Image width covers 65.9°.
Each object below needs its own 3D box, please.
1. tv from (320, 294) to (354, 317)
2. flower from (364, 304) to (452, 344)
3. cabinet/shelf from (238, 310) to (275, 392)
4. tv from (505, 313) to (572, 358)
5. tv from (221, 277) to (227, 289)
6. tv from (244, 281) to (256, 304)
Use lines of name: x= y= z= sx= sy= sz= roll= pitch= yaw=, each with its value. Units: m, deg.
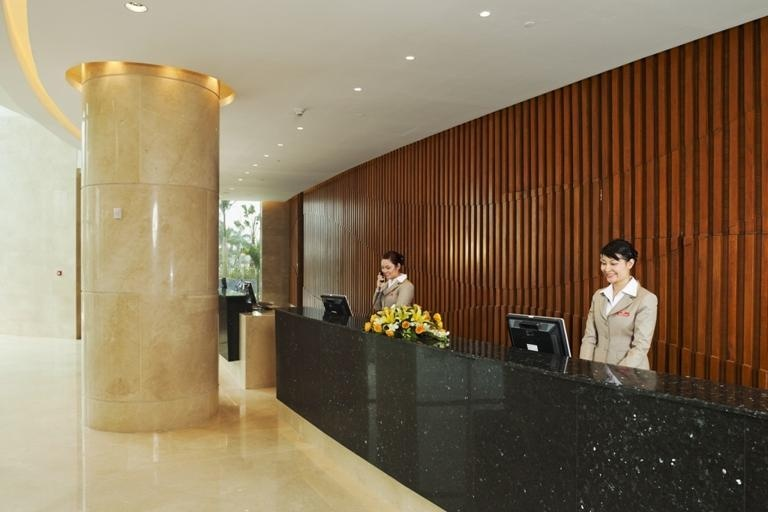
tv: x=-0.588 y=0.602 z=7.237 sx=0.348 sy=0.258 sz=0.554 roll=-2 pitch=9 yaw=-8
flower: x=0.277 y=0.645 z=5.703 sx=0.400 sy=0.318 sz=1.064 roll=-8 pitch=12 yaw=-41
cabinet/shelf: x=-1.895 y=1.423 z=8.873 sx=0.492 sy=1.088 sz=0.351 roll=-3 pitch=9 yaw=-15
tv: x=1.309 y=0.672 z=5.076 sx=0.625 sy=0.318 sz=0.212 roll=7 pitch=12 yaw=39
tv: x=-3.828 y=0.675 z=14.094 sx=0.092 sy=0.225 sz=0.880 roll=-4 pitch=10 yaw=-19
tv: x=-2.274 y=0.632 z=10.014 sx=0.082 sy=0.360 sz=0.311 roll=-6 pitch=6 yaw=-20
